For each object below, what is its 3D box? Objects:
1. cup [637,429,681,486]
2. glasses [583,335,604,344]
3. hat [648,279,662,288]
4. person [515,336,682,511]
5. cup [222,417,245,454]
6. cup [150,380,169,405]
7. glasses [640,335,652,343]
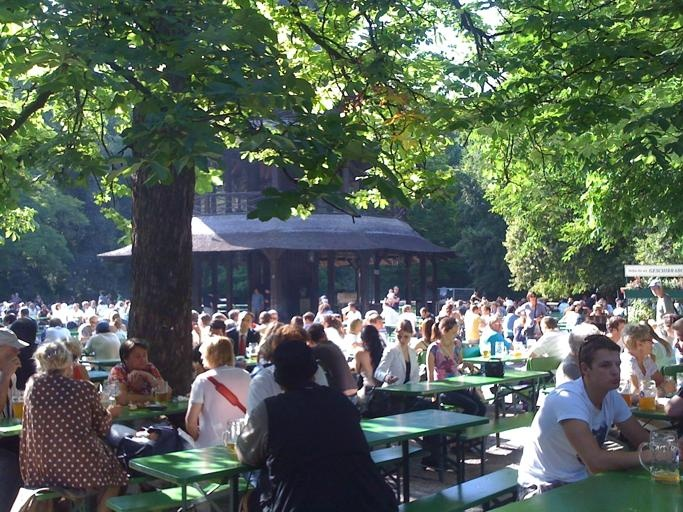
[{"bbox_3d":[2.520,1.565,6.684,0.303,0.395,0.352,-5,-6,18],"label":"cup"},{"bbox_3d":[2.103,0.691,7.010,0.189,0.100,0.171,-3,-6,7],"label":"glasses"},{"bbox_3d":[6.972,0.592,18.809,0.255,0.080,0.252,2,-7,-15],"label":"hat"},{"bbox_3d":[1.984,1.332,7.064,1.078,1.349,0.594,-4,-6,17],"label":"person"},{"bbox_3d":[-0.971,1.614,7.687,0.336,0.300,0.211,0,1,-12],"label":"cup"},{"bbox_3d":[-2.050,1.542,9.619,0.237,0.255,0.236,-1,-6,0],"label":"cup"},{"bbox_3d":[3.590,0.958,9.972,0.095,0.029,0.097,7,12,11],"label":"glasses"}]
